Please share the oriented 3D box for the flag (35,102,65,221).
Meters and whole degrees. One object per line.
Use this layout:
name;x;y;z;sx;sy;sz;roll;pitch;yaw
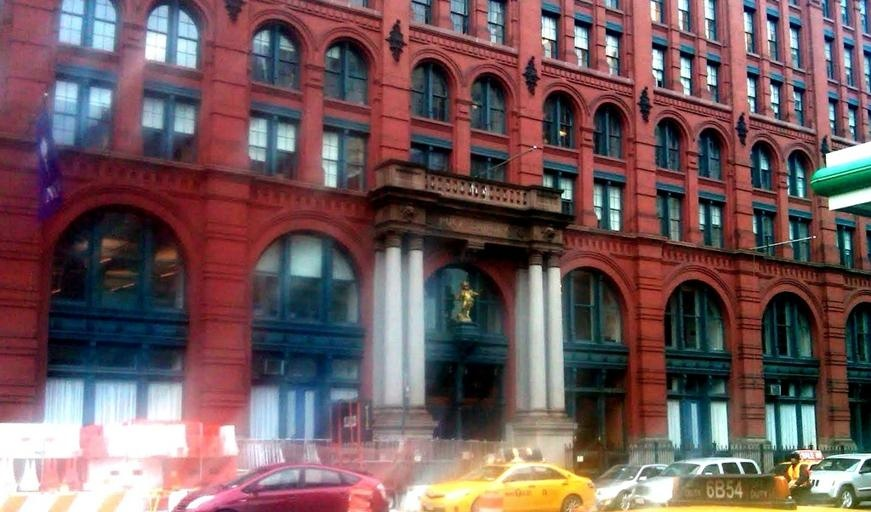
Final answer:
flag;-17.831;-4.597;43.769;1.327;5.258;2.082;6;-18;-23
